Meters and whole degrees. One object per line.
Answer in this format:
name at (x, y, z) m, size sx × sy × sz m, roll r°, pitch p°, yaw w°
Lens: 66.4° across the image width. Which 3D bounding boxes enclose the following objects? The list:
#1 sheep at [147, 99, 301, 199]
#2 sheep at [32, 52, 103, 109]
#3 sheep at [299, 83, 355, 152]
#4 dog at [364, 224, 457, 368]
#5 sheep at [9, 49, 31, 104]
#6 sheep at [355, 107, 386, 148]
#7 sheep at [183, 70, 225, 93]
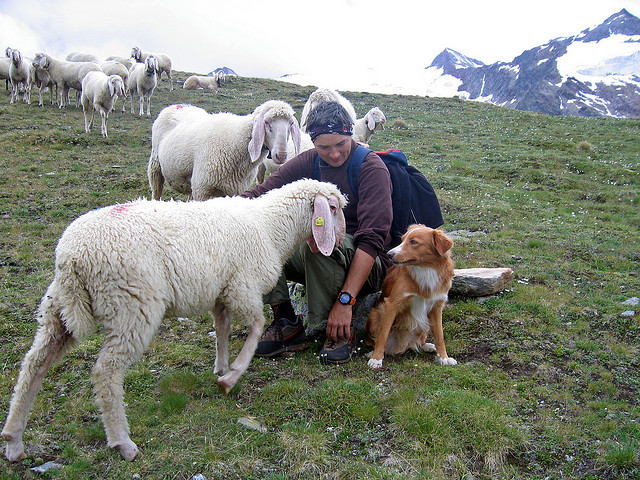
sheep at (-1.797, -1.261, 8.311) m, size 3.429 × 2.105 × 1.311 m, roll 12°, pitch 11°, yaw 39°
sheep at (-10.045, -6.263, 19.500) m, size 2.777 × 1.935 × 0.828 m, roll 7°, pitch 12°, yaw 4°
sheep at (0.152, -1.295, 5.557) m, size 0.339 × 0.394 × 0.604 m, roll 2°, pitch 37°, yaw 36°
dog at (1.039, 0.645, 5.396) m, size 0.942 × 1.545 × 0.724 m, roll 8°, pitch 17°, yaw 5°
sheep at (-11.727, -6.355, 19.173) m, size 0.780 × 1.932 × 2.028 m, roll -4°, pitch 20°, yaw -30°
sheep at (1.485, -3.377, 14.815) m, size 0.685 × 1.176 × 1.679 m, roll 10°, pitch 17°, yaw 11°
sheep at (-6.455, -8.978, 27.638) m, size 1.621 × 1.134 × 2.857 m, roll 9°, pitch 17°, yaw 8°
